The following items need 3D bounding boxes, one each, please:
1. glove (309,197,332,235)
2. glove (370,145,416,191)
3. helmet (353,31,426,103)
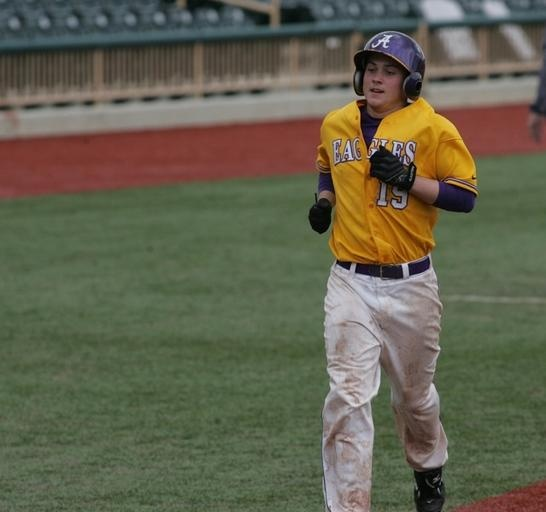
[{"bbox_3d":[0.255,-0.217,8.398,0.065,0.173,0.136,6,-4,-14],"label":"glove"},{"bbox_3d":[0.613,-0.439,8.000,0.227,0.186,0.106,31,-16,-4],"label":"glove"},{"bbox_3d":[0.662,-0.995,8.283,0.378,0.298,0.380,2,-4,34],"label":"helmet"}]
